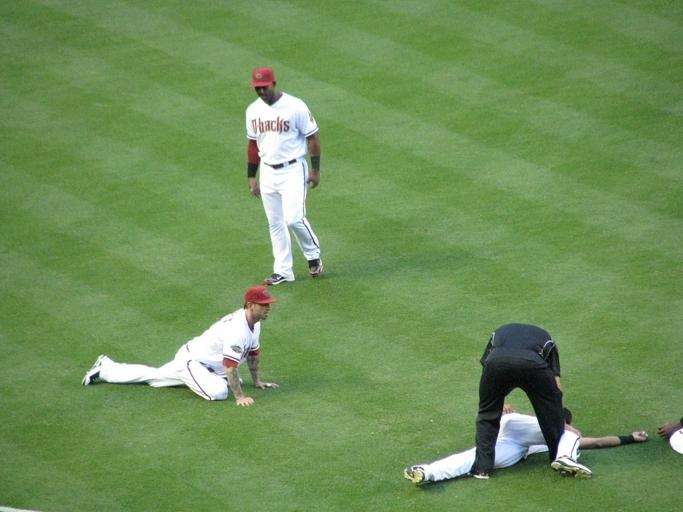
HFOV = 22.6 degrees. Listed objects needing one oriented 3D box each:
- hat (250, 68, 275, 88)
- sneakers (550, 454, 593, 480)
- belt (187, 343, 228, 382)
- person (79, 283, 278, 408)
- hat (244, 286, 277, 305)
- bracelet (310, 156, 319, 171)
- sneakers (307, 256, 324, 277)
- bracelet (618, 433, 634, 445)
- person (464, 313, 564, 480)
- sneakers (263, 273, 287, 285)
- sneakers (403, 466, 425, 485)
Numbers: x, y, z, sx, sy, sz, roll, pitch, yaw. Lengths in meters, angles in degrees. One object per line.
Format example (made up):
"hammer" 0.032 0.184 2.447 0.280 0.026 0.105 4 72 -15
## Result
"hat" -1.122 -2.527 24.277 0.272 0.185 0.344 3 17 16
"sneakers" 2.840 2.671 21.420 0.596 0.204 0.250 18 39 3
"belt" -1.851 1.454 22.768 0.475 0.303 0.329 15 -15 -21
"person" -2.174 1.176 22.916 2.737 1.404 1.082 3 14 13
"hat" -1.111 0.537 22.427 0.351 0.167 0.241 0 7 5
"bracelet" -0.415 -1.339 24.839 0.191 0.171 0.167 0 6 -13
"sneakers" -0.410 0.187 25.026 0.140 0.340 0.170 -2 0 14
"bracelet" 3.619 2.373 21.857 0.188 0.109 0.103 -6 -6 -4
"person" 2.227 1.872 21.532 1.076 1.883 0.833 9 23 -1
"sneakers" -0.993 0.361 24.992 0.347 0.134 0.147 0 8 -17
"sneakers" 0.902 2.754 21.350 0.118 0.160 0.288 -9 9 -40
